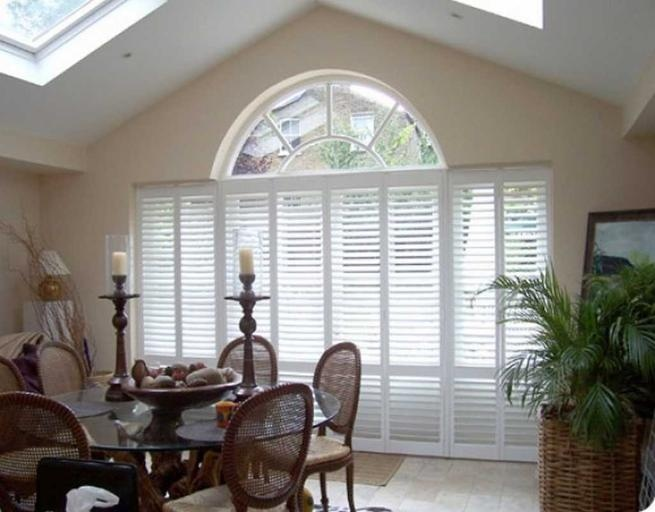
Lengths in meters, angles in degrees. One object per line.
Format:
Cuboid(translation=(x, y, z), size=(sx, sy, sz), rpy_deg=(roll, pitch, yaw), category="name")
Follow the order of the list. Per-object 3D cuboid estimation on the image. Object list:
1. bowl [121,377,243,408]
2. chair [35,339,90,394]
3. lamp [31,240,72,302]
Cuboid(translation=(-0.729, 0.712, 2.741), size=(0.497, 0.104, 0.522), rpy_deg=(-3, -14, -1), category="bowl")
Cuboid(translation=(-1.627, 0.676, 3.418), size=(0.274, 0.381, 0.289), rpy_deg=(1, 2, 36), category="chair")
Cuboid(translation=(-2.319, 0.177, 4.584), size=(0.288, 0.455, 0.281), rpy_deg=(-6, -1, -37), category="lamp")
